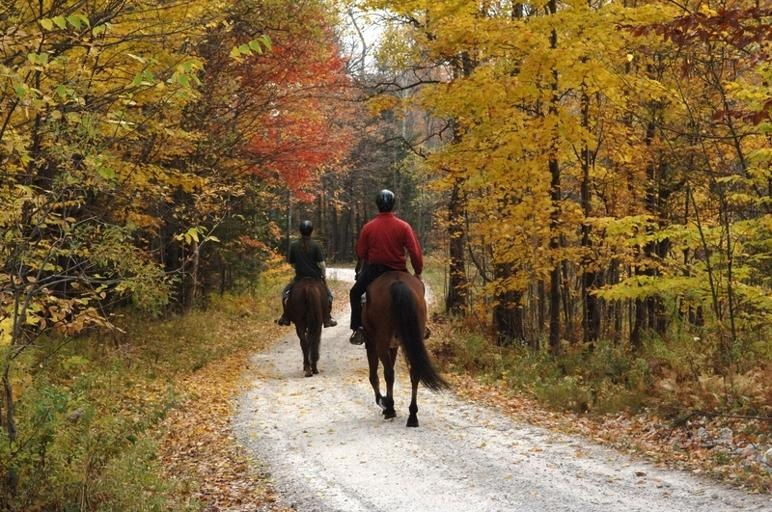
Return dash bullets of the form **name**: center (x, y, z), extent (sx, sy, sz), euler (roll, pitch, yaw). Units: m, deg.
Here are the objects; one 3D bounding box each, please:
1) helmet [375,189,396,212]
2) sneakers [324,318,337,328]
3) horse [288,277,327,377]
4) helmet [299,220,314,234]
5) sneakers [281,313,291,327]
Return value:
- **helmet**: center (-0.013, -1.133, 18.176), extent (0.355, 0.477, 0.387), euler (1, 12, 4)
- **sneakers**: center (-1.451, 1.764, 22.114), extent (0.292, 0.286, 0.433), euler (0, 0, -19)
- **horse**: center (-1.883, 1.828, 21.467), extent (0.918, 2.359, 1.265), euler (-3, 12, -14)
- **helmet**: center (-1.979, -0.720, 21.353), extent (0.272, 0.368, 0.357), euler (6, 33, -6)
- **sneakers**: center (-2.640, 1.689, 22.543), extent (0.127, 0.241, 0.441), euler (0, 9, -11)
